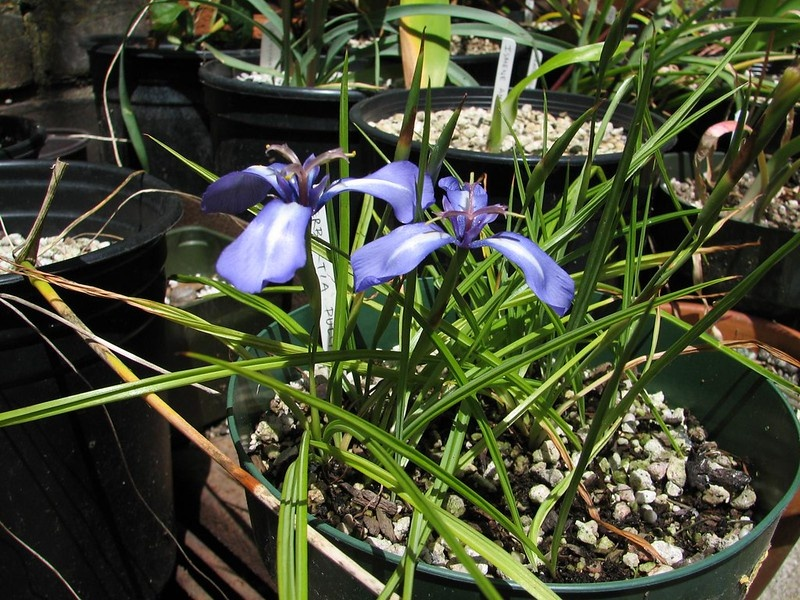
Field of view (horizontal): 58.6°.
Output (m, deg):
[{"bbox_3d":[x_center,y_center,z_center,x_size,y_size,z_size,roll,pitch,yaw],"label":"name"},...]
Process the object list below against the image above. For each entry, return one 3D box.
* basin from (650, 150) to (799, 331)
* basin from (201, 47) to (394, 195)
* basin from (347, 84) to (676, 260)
[{"bbox_3d":[0.610,-0.103,1.355,0.276,0.105,0.257,0,36,0],"label":"basin"},{"bbox_3d":[-0.298,-0.366,1.671,0.362,0.303,0.367,7,21,-3],"label":"basin"},{"bbox_3d":[0.242,-0.371,1.435,0.401,0.142,0.457,-14,53,-1],"label":"basin"}]
